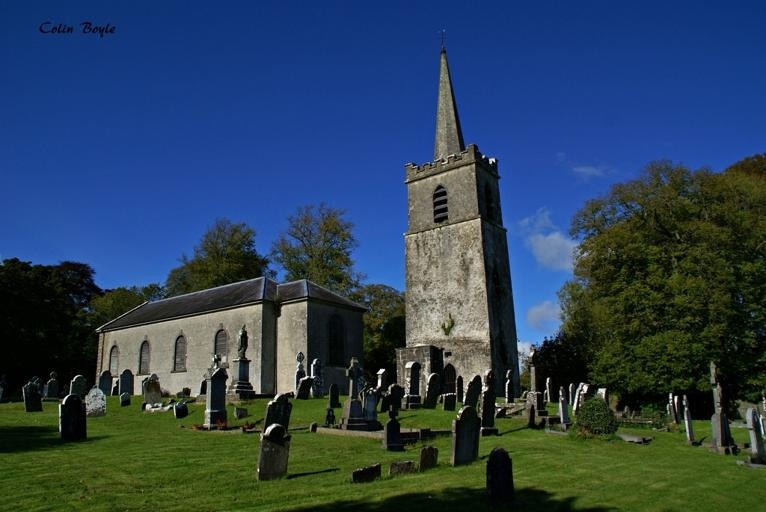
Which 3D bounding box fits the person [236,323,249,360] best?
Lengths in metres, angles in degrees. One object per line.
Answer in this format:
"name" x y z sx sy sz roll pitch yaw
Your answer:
"person" -7.623 4.669 30.732 0.421 1.866 1.018 6 -17 -19
